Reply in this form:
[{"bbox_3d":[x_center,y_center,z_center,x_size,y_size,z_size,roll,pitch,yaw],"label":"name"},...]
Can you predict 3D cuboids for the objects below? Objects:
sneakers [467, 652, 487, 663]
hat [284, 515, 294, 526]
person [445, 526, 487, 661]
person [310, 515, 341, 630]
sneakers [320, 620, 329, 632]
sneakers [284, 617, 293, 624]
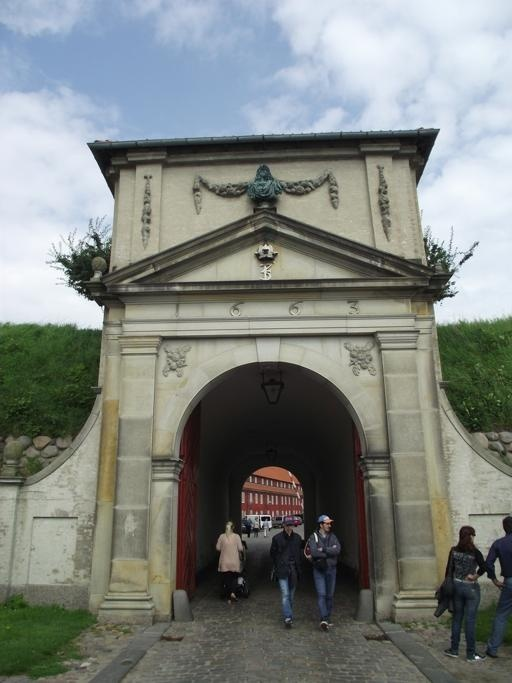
[{"bbox_3d":[2.243,3.190,5.382,0.192,0.079,0.075,-1,-7,-10],"label":"sneakers"},{"bbox_3d":[0.438,2.412,7.155,0.127,0.145,0.304,-2,-12,3],"label":"hat"},{"bbox_3d":[2.202,2.643,5.609,0.417,1.330,0.565,-3,-13,6],"label":"person"},{"bbox_3d":[0.913,3.113,7.194,0.425,1.482,0.666,-3,-13,4],"label":"person"},{"bbox_3d":[0.897,3.693,6.950,0.079,0.164,0.117,-4,14,5],"label":"sneakers"},{"bbox_3d":[0.436,3.769,7.183,0.067,0.074,0.170,2,-20,-7],"label":"sneakers"}]
